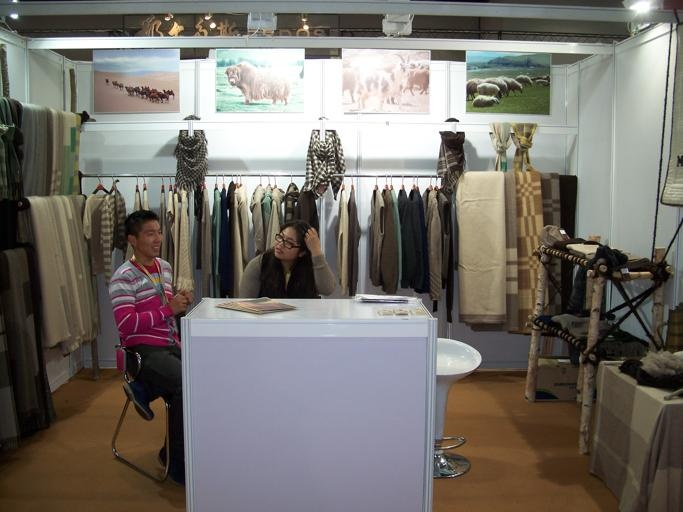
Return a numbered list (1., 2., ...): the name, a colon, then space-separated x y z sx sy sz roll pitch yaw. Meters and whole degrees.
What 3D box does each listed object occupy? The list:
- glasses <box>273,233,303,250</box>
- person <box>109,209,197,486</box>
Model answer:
1. glasses: -0.343 -0.100 3.404 0.157 0.106 0.057 0 9 -3
2. person: -1.232 0.594 3.414 0.596 1.828 0.563 3 6 -17
